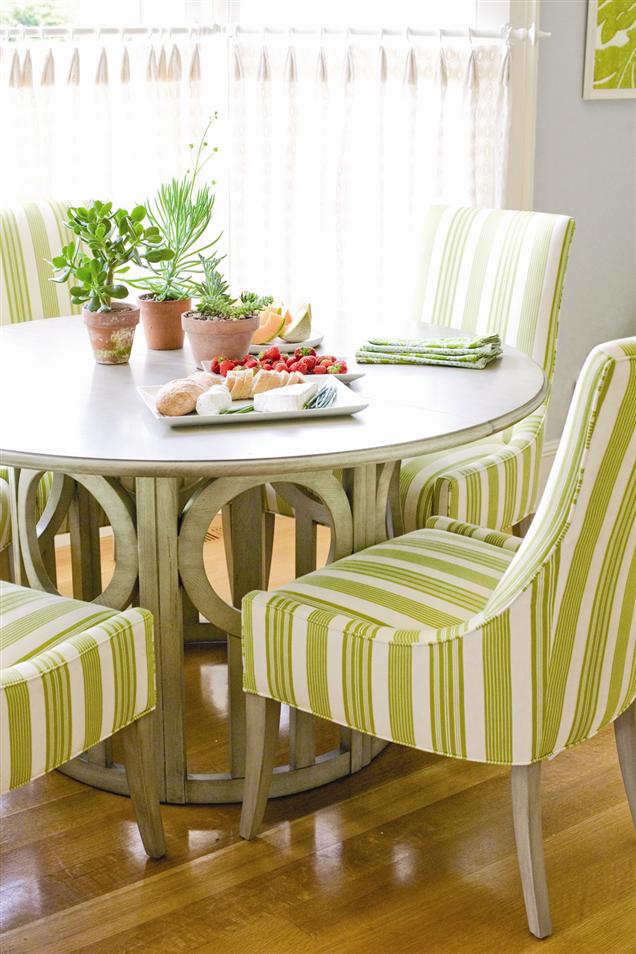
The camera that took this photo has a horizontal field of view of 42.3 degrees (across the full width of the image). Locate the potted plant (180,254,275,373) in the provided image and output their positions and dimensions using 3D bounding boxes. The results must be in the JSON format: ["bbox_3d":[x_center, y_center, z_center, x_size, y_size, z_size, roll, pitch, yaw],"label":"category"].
[{"bbox_3d":[-0.154,-0.281,1.390,0.145,0.180,0.119,-6,22,-21],"label":"potted plant"}]

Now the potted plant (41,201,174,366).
[{"bbox_3d":[-0.356,-0.319,1.408,0.177,0.240,0.178,4,17,15],"label":"potted plant"}]

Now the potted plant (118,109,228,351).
[{"bbox_3d":[-0.259,-0.472,1.531,0.172,0.449,0.198,7,5,25],"label":"potted plant"}]

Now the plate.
[{"bbox_3d":[-0.080,-0.122,1.156,0.225,0.032,0.142,-9,27,-20],"label":"plate"}]
